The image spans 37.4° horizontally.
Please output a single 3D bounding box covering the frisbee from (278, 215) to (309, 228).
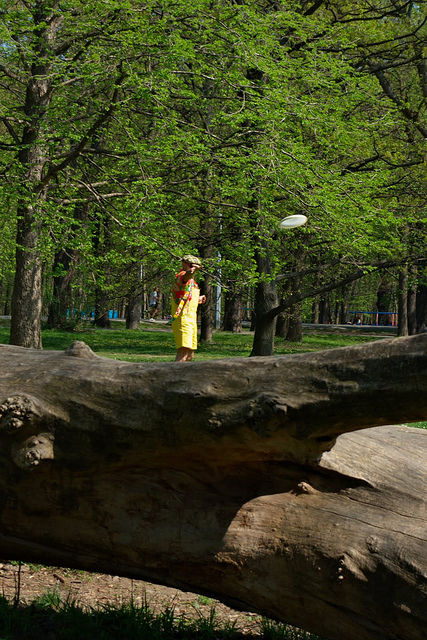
[{"bbox_3d":[1.292,-1.642,10.301,0.386,0.226,0.591,3,2,1],"label":"frisbee"}]

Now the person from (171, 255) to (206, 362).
[{"bbox_3d":[-0.331,-0.140,8.140,0.416,1.402,0.725,3,2,-4],"label":"person"}]
